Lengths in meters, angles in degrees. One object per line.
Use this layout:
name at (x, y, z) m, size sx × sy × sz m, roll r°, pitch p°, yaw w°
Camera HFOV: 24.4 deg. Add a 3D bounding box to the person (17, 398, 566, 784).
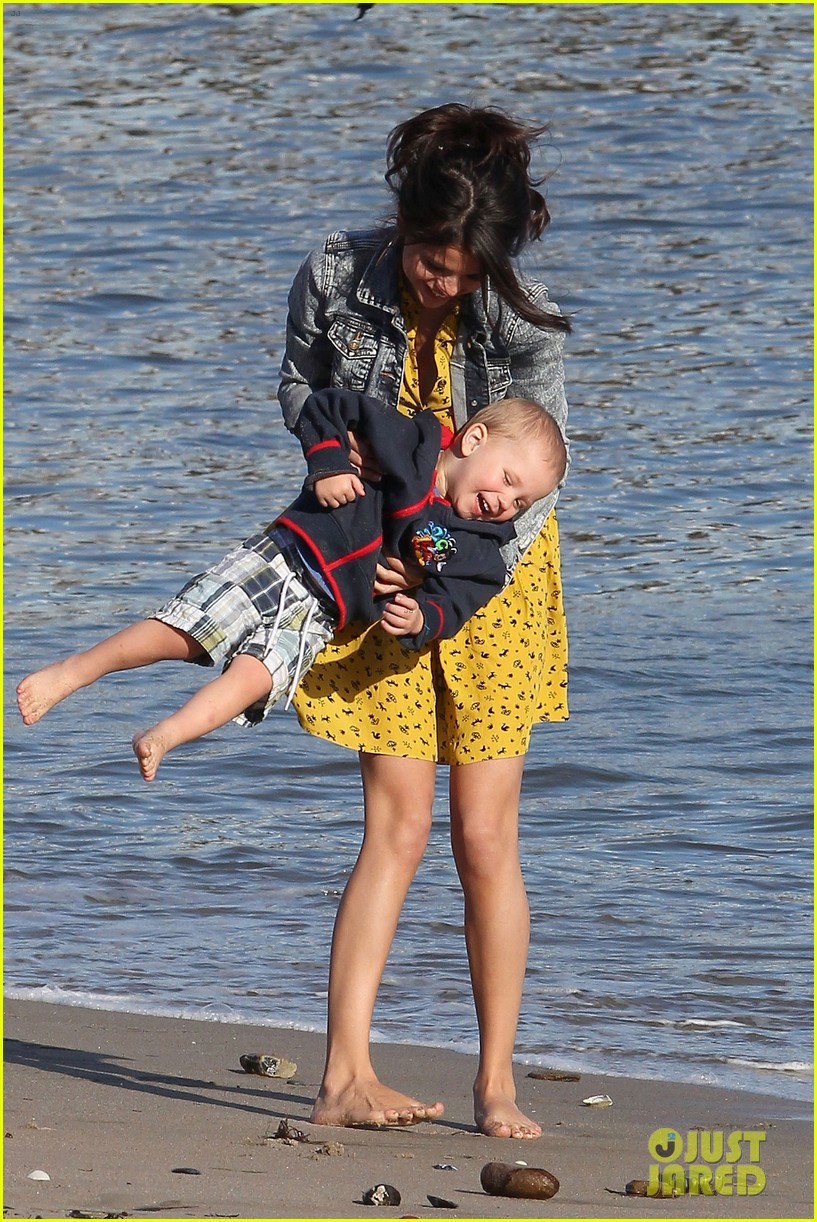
person at (-0.192, -0.079, 3.784) m, size 0.949 × 0.731 × 0.472 m, roll -3°, pitch 13°, yaw -41°
